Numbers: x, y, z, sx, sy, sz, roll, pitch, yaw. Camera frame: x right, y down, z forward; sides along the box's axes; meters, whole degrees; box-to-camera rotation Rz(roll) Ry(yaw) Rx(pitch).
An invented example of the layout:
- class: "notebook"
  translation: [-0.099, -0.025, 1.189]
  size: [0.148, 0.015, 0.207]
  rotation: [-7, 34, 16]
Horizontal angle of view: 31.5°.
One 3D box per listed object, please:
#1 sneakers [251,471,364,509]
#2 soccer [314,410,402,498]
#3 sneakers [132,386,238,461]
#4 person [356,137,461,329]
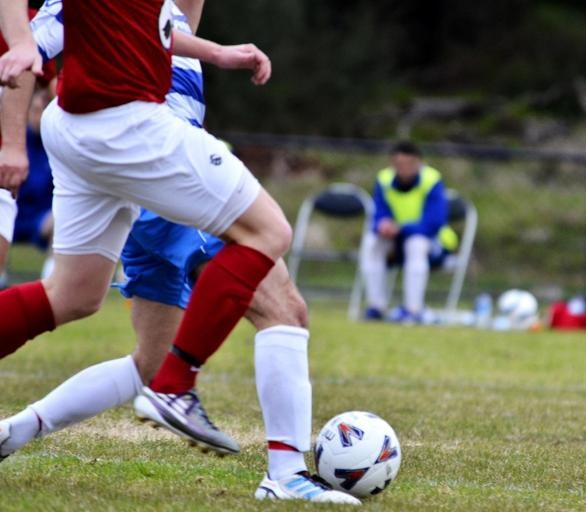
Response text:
- class: "sneakers"
  translation: [0.040, 0.711, 3.139]
  size: [0.326, 0.127, 0.119]
  rotation: [3, -5, -4]
- class: "soccer"
  translation: [0.176, 0.661, 3.417]
  size: [0.262, 0.270, 0.263]
  rotation: [17, 16, -9]
- class: "sneakers"
  translation: [-0.336, 0.491, 3.255]
  size: [0.363, 0.175, 0.141]
  rotation: [29, -9, -15]
- class: "person"
  translation: [0.773, -0.220, 6.845]
  size: [0.554, 0.965, 1.045]
  rotation: [12, 5, 4]
